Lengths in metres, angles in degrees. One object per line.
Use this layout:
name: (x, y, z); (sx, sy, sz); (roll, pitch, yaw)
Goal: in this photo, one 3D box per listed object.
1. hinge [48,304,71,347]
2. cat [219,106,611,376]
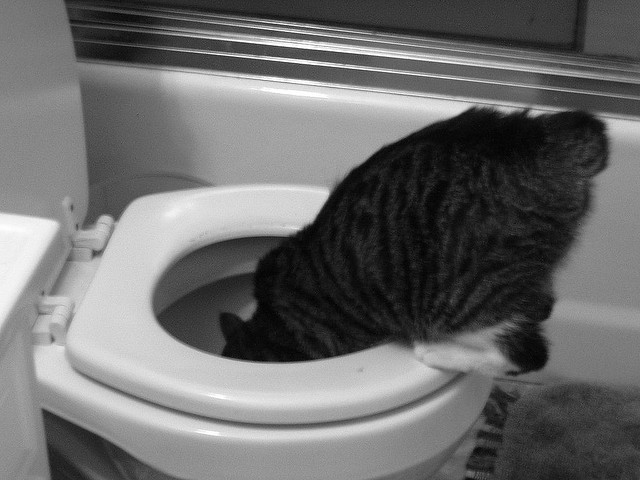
hinge: (-0.372, 0.125, 0.926); (0.022, 0.038, 0.039); (6, 40, -5)
cat: (0.122, 0.022, 1.073); (0.668, 0.397, 0.274); (-11, 24, 20)
